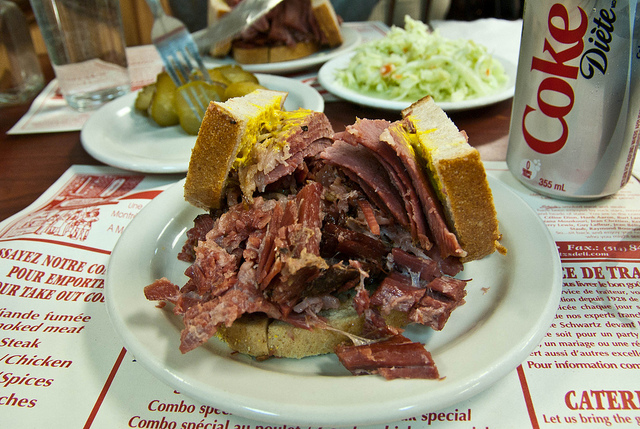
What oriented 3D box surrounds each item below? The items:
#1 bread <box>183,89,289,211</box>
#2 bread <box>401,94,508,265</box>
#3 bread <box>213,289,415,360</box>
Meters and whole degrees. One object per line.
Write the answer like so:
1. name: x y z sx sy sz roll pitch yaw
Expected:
1. bread: -0.334 -0.257 2.002 0.360 0.451 0.361 -1 21 -13
2. bread: 0.538 -0.160 1.982 0.413 0.530 0.386 23 29 38
3. bread: -0.109 0.419 1.847 0.545 0.124 0.198 -12 41 -8
